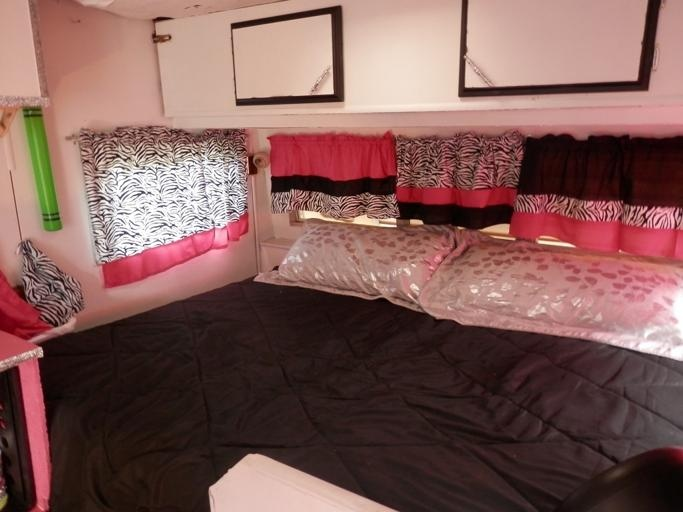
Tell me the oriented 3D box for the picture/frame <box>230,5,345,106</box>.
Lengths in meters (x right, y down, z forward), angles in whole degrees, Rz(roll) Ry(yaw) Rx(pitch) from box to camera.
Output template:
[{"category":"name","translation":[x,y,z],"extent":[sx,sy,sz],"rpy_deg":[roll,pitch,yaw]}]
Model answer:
[{"category":"picture/frame","translation":[-0.292,-1.005,2.312],"extent":[0.677,0.435,0.122],"rpy_deg":[10,24,30]}]
